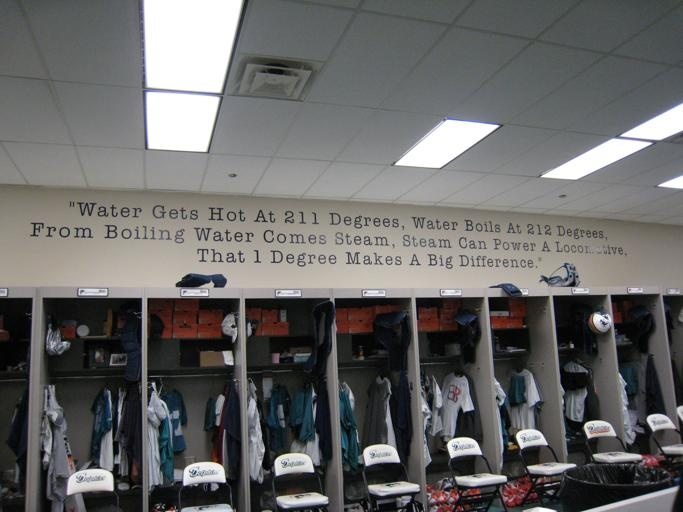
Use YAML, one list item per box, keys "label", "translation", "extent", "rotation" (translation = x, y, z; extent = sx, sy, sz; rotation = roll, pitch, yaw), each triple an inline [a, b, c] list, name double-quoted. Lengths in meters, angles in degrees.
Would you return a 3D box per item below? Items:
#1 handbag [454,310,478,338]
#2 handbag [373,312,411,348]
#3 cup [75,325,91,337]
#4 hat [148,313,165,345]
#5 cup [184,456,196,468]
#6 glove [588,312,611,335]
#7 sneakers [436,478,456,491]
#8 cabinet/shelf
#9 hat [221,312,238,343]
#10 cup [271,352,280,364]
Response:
- label: "handbag"
  translation: [1.683, 1.008, 7.455]
  extent: [0.248, 0.456, 0.440]
  rotation: [6, -10, -23]
- label: "handbag"
  translation: [0.675, 0.967, 6.925]
  extent: [0.433, 0.447, 0.236]
  rotation: [-4, -6, 41]
- label: "cup"
  translation: [-3.118, 0.902, 6.394]
  extent: [0.147, 0.160, 0.143]
  rotation: [-4, -12, -1]
- label: "hat"
  translation: [-2.241, 0.874, 6.420]
  extent: [0.198, 0.298, 0.070]
  rotation: [7, -19, -25]
- label: "cup"
  translation: [-1.835, 2.496, 6.463]
  extent: [0.134, 0.086, 0.169]
  rotation: [-2, -13, -15]
- label: "glove"
  translation: [3.741, 1.011, 7.776]
  extent: [0.246, 0.328, 0.316]
  rotation: [13, 19, 26]
- label: "sneakers"
  translation: [1.371, 3.023, 6.996]
  extent: [0.226, 0.067, 0.168]
  rotation: [10, -7, -38]
- label: "cabinet/shelf"
  translation: [-0.437, 1.783, 6.752]
  extent: [7.116, 2.862, 1.280]
  rotation: [0, -12, -21]
- label: "hat"
  translation: [-1.376, 0.880, 6.500]
  extent: [0.174, 0.340, 0.175]
  rotation: [0, -12, -21]
- label: "cup"
  translation: [-0.838, 1.321, 6.790]
  extent: [0.111, 0.113, 0.100]
  rotation: [-3, -8, 10]
